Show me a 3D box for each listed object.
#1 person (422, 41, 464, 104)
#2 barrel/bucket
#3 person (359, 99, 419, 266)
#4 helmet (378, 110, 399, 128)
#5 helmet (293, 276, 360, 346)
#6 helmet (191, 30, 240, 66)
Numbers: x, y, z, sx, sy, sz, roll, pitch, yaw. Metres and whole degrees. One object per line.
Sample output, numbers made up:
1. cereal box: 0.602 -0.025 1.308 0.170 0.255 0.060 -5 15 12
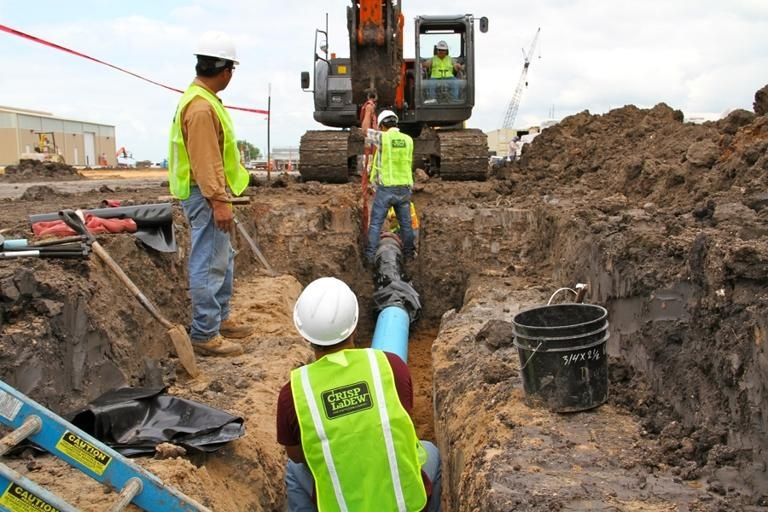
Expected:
1. person: 0.864 -2.866 12.774 0.731 1.049 0.722 -4 10 -31
2. barrel/bucket: 1.367 0.771 6.287 0.691 0.687 0.729 -7 9 1
3. person: 0.048 -0.877 10.643 0.659 2.087 0.922 -1 13 0
4. helmet: 0.064 -1.767 10.539 0.222 0.290 0.300 -9 -3 -16
5. helmet: -0.385 0.309 5.622 0.423 0.225 0.571 16 47 8
6. helmet: -1.458 -1.746 6.925 0.431 0.226 0.361 9 -1 -14
